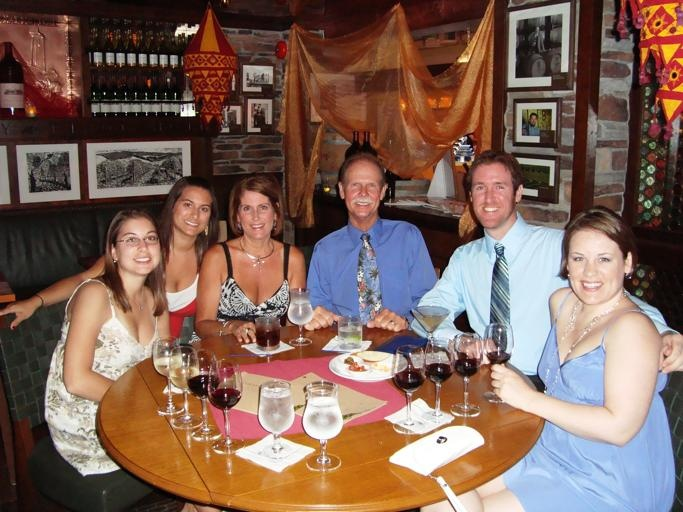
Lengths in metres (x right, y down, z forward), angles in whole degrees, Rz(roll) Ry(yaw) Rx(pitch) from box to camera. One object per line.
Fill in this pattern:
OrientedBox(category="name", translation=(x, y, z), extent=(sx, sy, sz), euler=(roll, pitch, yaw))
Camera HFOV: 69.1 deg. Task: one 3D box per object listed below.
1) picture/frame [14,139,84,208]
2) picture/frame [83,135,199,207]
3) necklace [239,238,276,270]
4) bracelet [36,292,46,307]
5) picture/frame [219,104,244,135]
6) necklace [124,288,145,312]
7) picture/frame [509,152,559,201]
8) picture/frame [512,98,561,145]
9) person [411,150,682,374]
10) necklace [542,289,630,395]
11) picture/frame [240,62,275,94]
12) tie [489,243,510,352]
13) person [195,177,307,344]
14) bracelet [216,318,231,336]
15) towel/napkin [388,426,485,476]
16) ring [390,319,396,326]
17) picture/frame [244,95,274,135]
OrientedBox(category="picture/frame", translation=(-3.426, -0.949, 5.720), extent=(0.680, 0.767, 0.026), euler=(-10, 14, -36))
OrientedBox(category="picture/frame", translation=(-2.461, -0.996, 5.845), extent=(1.094, 0.654, 0.026), euler=(-9, 17, -30))
OrientedBox(category="necklace", translation=(-0.534, 0.009, 3.075), extent=(0.120, 0.239, 0.055), euler=(-7, 12, -14))
OrientedBox(category="bracelet", translation=(-1.645, 0.239, 2.707), extent=(0.059, 0.074, 0.025), euler=(-9, 0, 44))
OrientedBox(category="picture/frame", translation=(-1.500, -1.837, 6.758), extent=(0.299, 0.365, 0.126), euler=(-10, 11, -40))
OrientedBox(category="necklace", translation=(-1.004, 0.219, 2.438), extent=(0.029, 0.085, 0.080), euler=(-5, -3, 37))
OrientedBox(category="picture/frame", translation=(1.346, -0.541, 3.421), extent=(0.029, 0.341, 0.386), euler=(-15, 25, -32))
OrientedBox(category="picture/frame", translation=(1.439, -0.973, 3.613), extent=(0.025, 0.349, 0.323), euler=(-11, 17, -35))
OrientedBox(category="person", translation=(1.167, 0.009, 2.653), extent=(0.944, 1.608, 0.496), euler=(-14, 7, 12))
OrientedBox(category="necklace", translation=(0.972, 0.376, 2.036), extent=(0.234, 0.422, 0.331), euler=(-4, 16, -11))
OrientedBox(category="picture/frame", translation=(-1.180, -2.430, 6.797), extent=(0.418, 0.378, 0.033), euler=(-8, 15, -27))
OrientedBox(category="tie", translation=(0.847, 0.154, 2.636), extent=(0.094, 0.523, 0.054), euler=(-1, 37, 17))
OrientedBox(category="person", translation=(-0.517, 0.085, 3.034), extent=(0.605, 1.081, 0.628), euler=(6, 18, 1))
OrientedBox(category="bracelet", translation=(-0.648, 0.388, 2.708), extent=(0.071, 0.088, 0.095), euler=(-1, -2, 3))
OrientedBox(category="towel/napkin", translation=(0.313, 0.588, 1.597), extent=(0.242, 0.038, 0.124), euler=(-8, 10, -39))
OrientedBox(category="ring", translation=(0.261, 0.339, 2.518), extent=(0.024, 0.025, 0.006), euler=(0, -8, -7))
OrientedBox(category="picture/frame", translation=(-1.172, -1.963, 6.914), extent=(0.488, 0.562, 0.054), euler=(-6, 13, -33))
